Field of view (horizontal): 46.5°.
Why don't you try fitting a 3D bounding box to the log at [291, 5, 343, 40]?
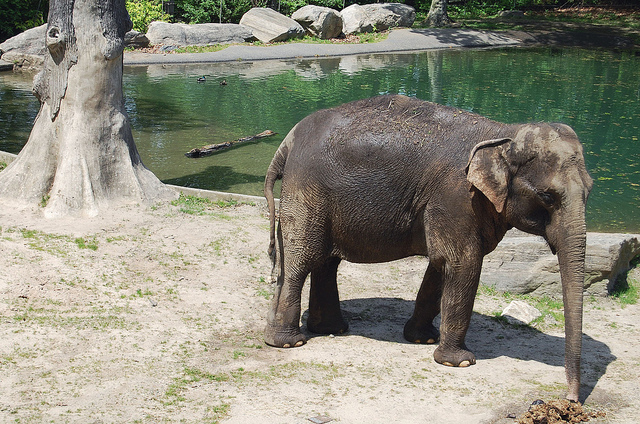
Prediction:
[{"bbox_3d":[-0.086,-10.561,41.234,2.340,1.313,2.273,-14,30,-36],"label":"log"}]
